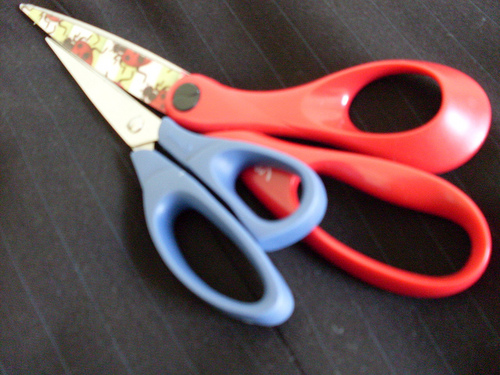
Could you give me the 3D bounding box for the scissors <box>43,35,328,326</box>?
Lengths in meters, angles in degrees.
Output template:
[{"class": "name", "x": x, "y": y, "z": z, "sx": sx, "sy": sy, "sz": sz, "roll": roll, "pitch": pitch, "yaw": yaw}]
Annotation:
[{"class": "scissors", "x": -0.103, "y": -0.034, "z": 0.824, "sx": 0.512, "sy": 0.157, "sz": 0.208, "roll": 42, "pitch": 58, "yaw": 9}]
